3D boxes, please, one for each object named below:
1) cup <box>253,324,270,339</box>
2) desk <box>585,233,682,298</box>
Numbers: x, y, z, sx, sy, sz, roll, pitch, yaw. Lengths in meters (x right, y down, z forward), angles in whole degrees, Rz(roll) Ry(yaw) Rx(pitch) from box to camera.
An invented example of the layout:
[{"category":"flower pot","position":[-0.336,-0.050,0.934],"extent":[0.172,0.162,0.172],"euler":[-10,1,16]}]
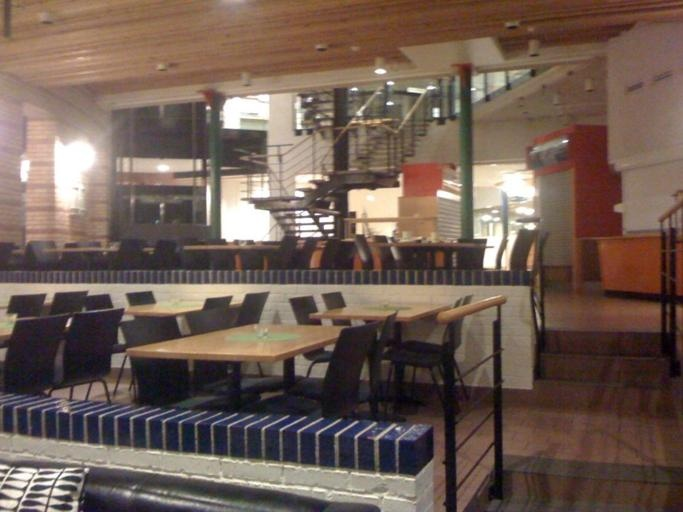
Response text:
[{"category":"cup","position":[-0.596,0.566,5.624],"extent":[0.095,0.070,0.080],"euler":[2,-3,17]},{"category":"desk","position":[3.856,0.126,9.942],"extent":[0.826,0.679,1.455],"euler":[0,-3,13]}]
